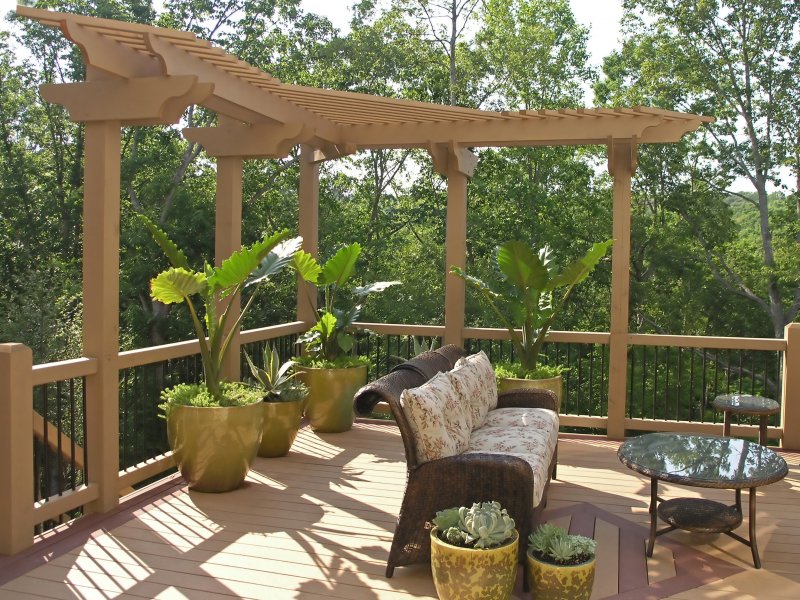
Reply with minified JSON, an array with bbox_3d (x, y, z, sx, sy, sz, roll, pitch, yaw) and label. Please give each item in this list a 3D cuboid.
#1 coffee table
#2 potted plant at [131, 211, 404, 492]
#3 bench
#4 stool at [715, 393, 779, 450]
[{"bbox_3d":[2.229,1.495,5.703,1.177,0.730,0.986,0,8,0],"label":"coffee table"},{"bbox_3d":[-1.644,0.409,7.264,1.863,2.274,2.028,2,0,28],"label":"potted plant"},{"bbox_3d":[0.529,0.564,5.796,1.107,1.499,2.513,-1,1,13],"label":"bench"},{"bbox_3d":[3.142,1.173,6.918,0.591,0.520,0.638,0,2,19],"label":"stool"}]
